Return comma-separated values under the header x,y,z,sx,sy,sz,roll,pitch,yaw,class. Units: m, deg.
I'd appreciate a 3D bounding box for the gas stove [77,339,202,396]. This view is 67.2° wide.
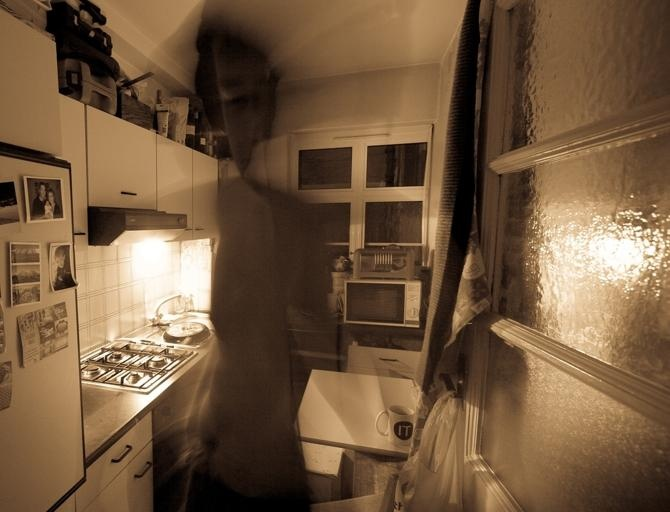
x,y,z,sx,sy,sz,roll,pitch,yaw,class
-0.838,0.443,2.082,0.424,0.112,0.383,1,4,17,gas stove

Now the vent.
x,y,z,sx,sy,sz,roll,pitch,yaw,class
-0.735,-0.121,1.935,0.157,0.135,0.420,1,4,20,vent

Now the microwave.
x,y,z,sx,sy,sz,roll,pitch,yaw,class
0.160,0.115,1.713,0.256,0.179,0.171,1,-7,11,microwave

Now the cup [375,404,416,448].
x,y,z,sx,sy,sz,roll,pitch,yaw,class
0.188,0.526,1.556,0.125,0.100,0.082,-1,-1,21,cup

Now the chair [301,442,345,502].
x,y,z,sx,sy,sz,roll,pitch,yaw,class
-0.036,0.646,1.556,0.138,0.238,0.160,-3,-7,1,chair

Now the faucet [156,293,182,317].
x,y,z,sx,sy,sz,roll,pitch,yaw,class
-0.845,0.246,2.533,0.060,0.093,0.150,1,4,17,faucet
